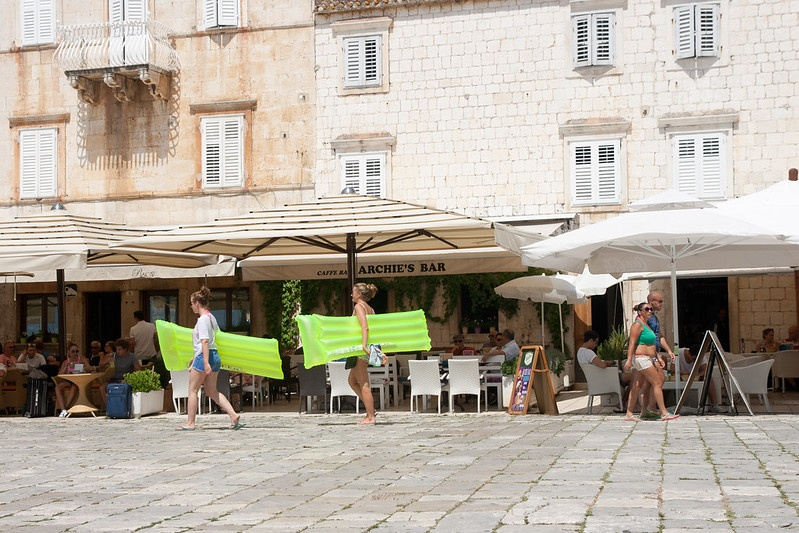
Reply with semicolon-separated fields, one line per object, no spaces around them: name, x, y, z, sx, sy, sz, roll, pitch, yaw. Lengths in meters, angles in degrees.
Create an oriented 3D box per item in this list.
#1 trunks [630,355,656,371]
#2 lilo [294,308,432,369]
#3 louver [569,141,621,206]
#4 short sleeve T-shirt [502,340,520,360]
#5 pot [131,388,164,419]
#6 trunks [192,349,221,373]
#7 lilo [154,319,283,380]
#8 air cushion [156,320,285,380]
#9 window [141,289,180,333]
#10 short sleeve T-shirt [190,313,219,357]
trunks;4.625;1.859;26.764;0.299;0.238;0.485;-9;1;6
lilo;-0.711;1.433;27.451;2.312;1.018;0.925;-1;-4;-25
louver;5.002;-2.365;35.612;1.935;2.066;0.158;0;-3;6
short sleeve T-shirt;2.355;1.839;30.139;0.394;0.348;0.206;4;-19;14
pot;-5.411;2.966;29.859;0.498;0.548;0.943;-3;-4;21
trunks;-3.703;1.870;26.999;0.439;0.498;0.612;1;-9;28
lilo;-3.665;1.761;28.179;2.754;1.025;0.485;8;-46;-24
air cushion;-3.575;1.736;28.357;2.805;1.019;0.472;7;17;14
window;-6.268;1.153;36.405;1.127;1.087;0.118;0;3;10
short sleeve T-shirt;-3.795;1.318;27.079;0.496;0.868;0.768;-2;-4;-9
